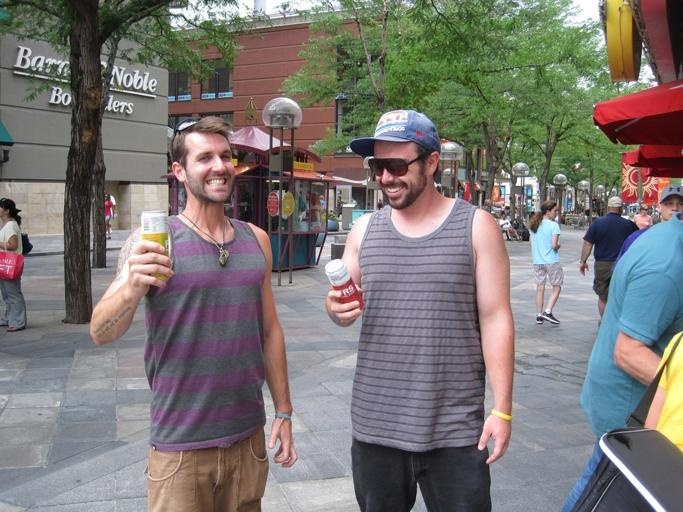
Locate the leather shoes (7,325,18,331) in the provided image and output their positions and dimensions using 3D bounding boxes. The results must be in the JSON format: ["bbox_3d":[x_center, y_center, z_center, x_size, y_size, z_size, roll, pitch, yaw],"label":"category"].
[{"bbox_3d":[-5.025,1.110,8.692,0.064,0.068,0.167,1,-11,-4],"label":"leather shoes"}]

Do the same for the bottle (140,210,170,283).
[{"bbox_3d":[-0.730,-0.093,2.223,0.106,0.168,0.152,-1,8,-19],"label":"bottle"}]

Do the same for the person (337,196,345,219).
[{"bbox_3d":[-0.094,-3.977,45.591,0.899,1.161,1.873,0,-5,1],"label":"person"}]

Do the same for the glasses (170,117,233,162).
[{"bbox_3d":[-0.626,-0.552,2.566,0.184,0.245,0.225,7,9,-7],"label":"glasses"}]

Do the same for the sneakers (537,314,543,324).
[{"bbox_3d":[3.558,1.117,10.155,0.128,0.172,0.226,4,8,19],"label":"sneakers"}]

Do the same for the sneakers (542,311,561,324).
[{"bbox_3d":[3.756,1.083,10.159,0.303,0.241,0.258,4,8,19],"label":"sneakers"}]

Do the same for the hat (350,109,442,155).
[{"bbox_3d":[0.284,-0.599,2.781,0.351,0.175,0.246,6,3,-12],"label":"hat"}]

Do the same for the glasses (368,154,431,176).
[{"bbox_3d":[0.243,-0.427,2.682,0.159,0.052,0.174,-1,6,32],"label":"glasses"}]

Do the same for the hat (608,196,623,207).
[{"bbox_3d":[4.762,-0.953,9.864,0.259,0.134,0.374,1,16,34],"label":"hat"}]
